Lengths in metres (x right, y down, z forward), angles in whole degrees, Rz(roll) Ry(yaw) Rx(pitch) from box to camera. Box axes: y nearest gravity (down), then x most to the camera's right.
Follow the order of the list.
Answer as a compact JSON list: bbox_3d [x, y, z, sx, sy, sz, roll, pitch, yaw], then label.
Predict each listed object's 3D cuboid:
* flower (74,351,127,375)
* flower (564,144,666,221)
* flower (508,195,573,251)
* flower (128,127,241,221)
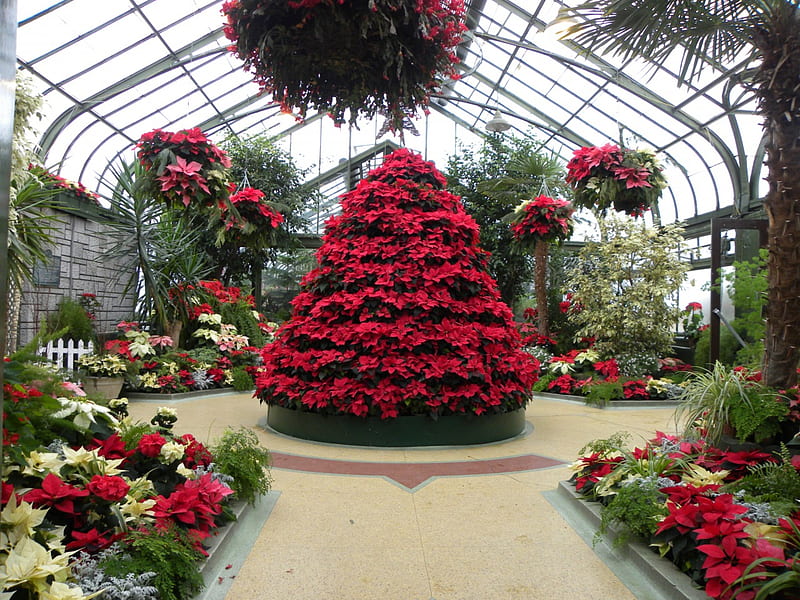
[{"bbox_3d":[-3.494,0.763,5.967,0.352,0.179,0.347,7,-1,-38],"label":"flower"},{"bbox_3d":[2.860,-1.513,6.622,1.215,0.725,1.067,-11,18,-29],"label":"flower"},{"bbox_3d":[2.297,-1.173,8.175,0.923,0.678,0.862,-1,2,-5],"label":"flower"},{"bbox_3d":[-1.859,-1.082,4.346,0.799,0.566,0.810,21,15,41],"label":"flower"}]
